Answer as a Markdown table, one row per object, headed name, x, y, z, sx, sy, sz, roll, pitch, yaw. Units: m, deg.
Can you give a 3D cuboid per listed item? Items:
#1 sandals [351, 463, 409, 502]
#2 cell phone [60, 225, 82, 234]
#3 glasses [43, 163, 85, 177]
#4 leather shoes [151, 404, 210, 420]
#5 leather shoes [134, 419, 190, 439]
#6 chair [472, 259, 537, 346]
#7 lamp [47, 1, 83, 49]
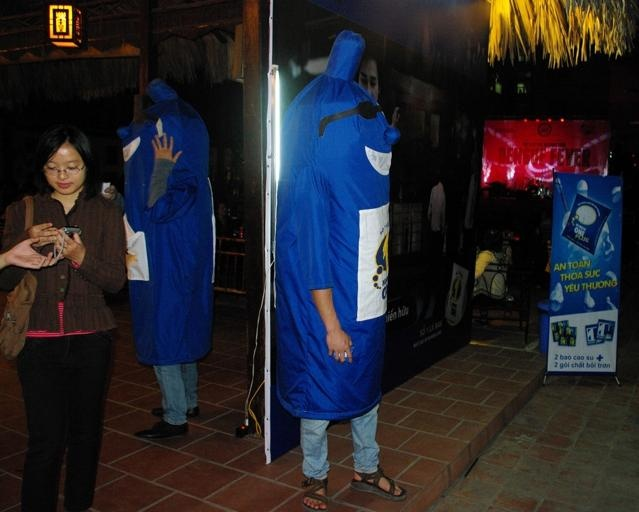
| name | x | y | z | sx | sy | sz | roll | pitch | yaw |
| --- | --- | --- | --- | --- | --- | --- | --- | --- | --- |
| sandals | 0.396 | 1.490 | 3.629 | 0.385 | 0.203 | 0.153 | 4 | 7 | 17 |
| cell phone | -1.311 | -0.131 | 2.864 | 0.087 | 0.050 | 0.096 | -2 | 12 | -28 |
| glasses | -1.366 | -0.462 | 2.910 | 0.190 | 0.054 | 0.072 | -2 | 12 | -30 |
| leather shoes | -1.204 | 1.340 | 4.702 | 0.460 | 0.214 | 0.165 | 4 | 3 | -11 |
| leather shoes | -1.232 | 1.362 | 4.252 | 0.396 | 0.170 | 0.153 | 3 | -7 | -16 |
| chair | 2.634 | 0.687 | 7.784 | 0.660 | 1.392 | 0.746 | 7 | 18 | 24 |
| lamp | -2.824 | -2.531 | 5.935 | 0.448 | 0.442 | 0.210 | 7 | 10 | 17 |
